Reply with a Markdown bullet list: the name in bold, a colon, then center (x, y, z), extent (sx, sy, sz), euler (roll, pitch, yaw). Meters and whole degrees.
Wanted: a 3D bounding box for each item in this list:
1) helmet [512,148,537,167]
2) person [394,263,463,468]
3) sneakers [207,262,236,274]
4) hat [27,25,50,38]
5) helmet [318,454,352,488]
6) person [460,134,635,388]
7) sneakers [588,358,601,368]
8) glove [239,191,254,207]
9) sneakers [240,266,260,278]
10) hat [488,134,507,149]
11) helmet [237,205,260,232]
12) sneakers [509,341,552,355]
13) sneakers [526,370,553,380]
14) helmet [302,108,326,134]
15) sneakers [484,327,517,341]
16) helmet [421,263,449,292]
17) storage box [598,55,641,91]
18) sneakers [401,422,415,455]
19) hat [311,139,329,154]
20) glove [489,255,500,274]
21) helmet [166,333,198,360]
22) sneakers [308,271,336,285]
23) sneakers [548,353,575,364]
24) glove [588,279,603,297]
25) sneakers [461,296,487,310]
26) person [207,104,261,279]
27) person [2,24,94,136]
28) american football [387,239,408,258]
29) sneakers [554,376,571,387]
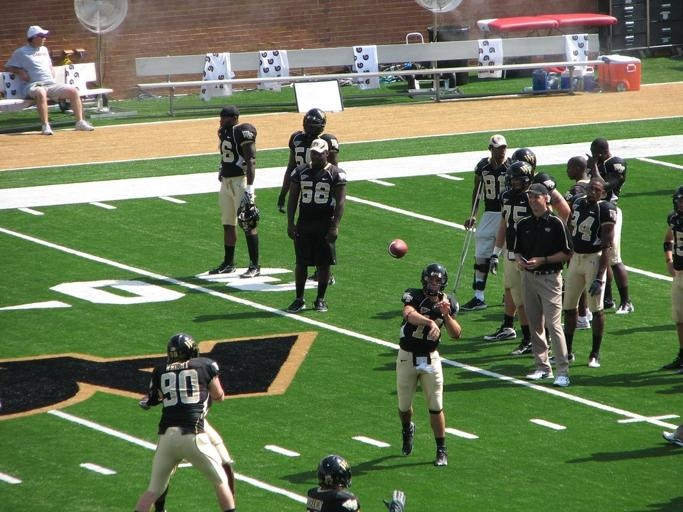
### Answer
- **helmet**: center (2.503, -1.345, 16.452), extent (0.274, 0.291, 0.333), euler (-8, 10, -43)
- **person**: center (0.992, 1.237, 13.928), extent (0.743, 2.320, 0.453), euler (-4, 9, 3)
- **sneakers**: center (-1.866, 0.185, 19.112), extent (0.494, 0.162, 0.143), euler (-3, 14, -8)
- **hat**: center (-6.934, -5.051, 27.615), extent (0.345, 0.279, 0.425), euler (-3, 8, 0)
- **helmet**: center (-0.088, 2.087, 11.883), extent (0.418, 0.276, 0.313), euler (7, 4, -15)
- **person**: center (2.737, 0.175, 15.924), extent (1.286, 2.837, 1.095), euler (-12, 12, -41)
- **sneakers**: center (3.332, 1.391, 16.044), extent (0.150, 0.096, 0.268), euler (0, -1, 10)
- **glove**: center (-1.466, -0.884, 18.679), extent (0.186, 0.218, 0.309), euler (-5, 8, -11)
- **sneakers**: center (-1.416, 0.250, 19.011), extent (0.364, 0.179, 0.129), euler (-1, 12, -1)
- **hat**: center (2.214, -1.626, 17.418), extent (0.264, 0.179, 0.364), euler (-4, 10, -21)
- **helmet**: center (-1.491, -0.581, 18.643), extent (0.321, 0.349, 0.363), euler (-4, 22, -33)
- **sneakers**: center (2.575, 1.226, 16.456), extent (0.647, 0.207, 0.191), euler (-3, 5, -5)
- **sneakers**: center (2.565, 1.519, 15.795), extent (0.329, 0.123, 0.134), euler (1, -1, -13)
- **helmet**: center (-0.409, -1.980, 18.051), extent (0.305, 0.376, 0.426), euler (-4, 8, -4)
- **sneakers**: center (2.221, 1.065, 16.841), extent (0.529, 0.192, 0.164), euler (-1, 6, 0)
- **helmet**: center (1.054, 0.234, 13.870), extent (0.293, 0.246, 0.331), euler (10, 0, 4)
- **storage box**: center (7.366, -4.775, 32.434), extent (1.047, 0.835, 1.188), euler (-1, 10, -35)
- **sneakers**: center (0.756, 2.090, 14.201), extent (0.137, 0.374, 0.184), euler (2, 6, 36)
- **hat**: center (-0.328, -1.549, 17.240), extent (0.237, 0.190, 0.274), euler (-4, 8, -3)
- **glove**: center (2.076, 0.116, 16.592), extent (0.107, 0.223, 0.176), euler (6, 0, 2)
- **helmet**: center (-1.713, 0.941, 12.941), extent (0.252, 0.274, 0.326), euler (15, 28, 39)
- **sneakers**: center (-0.287, 0.322, 18.939), extent (0.182, 0.199, 0.523), euler (-2, 11, -30)
- **sneakers**: center (2.895, 1.345, 16.165), extent (0.433, 0.152, 0.144), euler (0, 1, -5)
- **glove**: center (3.298, 0.397, 15.816), extent (0.166, 0.209, 0.084), euler (24, 22, -50)
- **sneakers**: center (1.937, 0.694, 17.901), extent (0.384, 0.144, 0.162), euler (-1, 10, -11)
- **person**: center (-1.680, -1.005, 18.823), extent (0.890, 2.598, 0.478), euler (3, 12, 39)
- **person**: center (-6.818, -3.990, 27.802), extent (1.527, 2.436, 1.198), euler (-12, 12, -42)
- **american football**: center (0.772, -0.110, 16.958), extent (0.286, 0.260, 0.256), euler (5, 27, -6)
- **sneakers**: center (2.826, 1.571, 15.605), extent (0.222, 0.159, 0.160), euler (-3, 8, 0)
